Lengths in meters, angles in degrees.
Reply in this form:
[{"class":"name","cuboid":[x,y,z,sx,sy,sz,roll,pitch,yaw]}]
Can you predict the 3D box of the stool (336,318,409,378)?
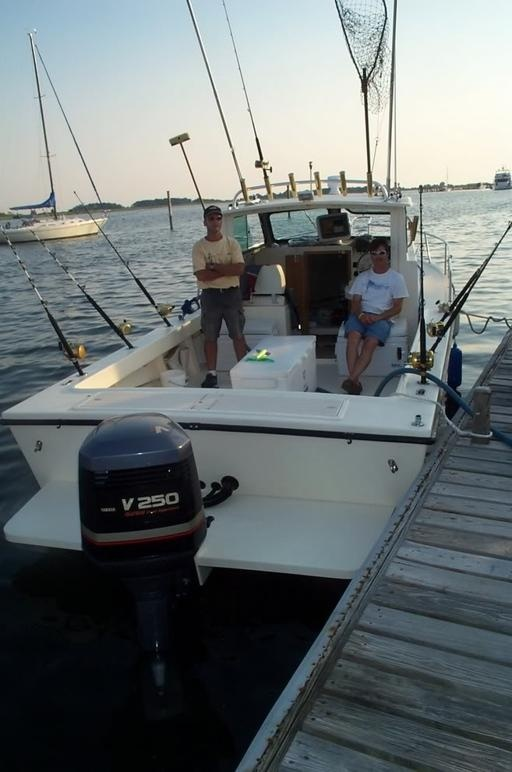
[{"class":"stool","cuboid":[0.895,-0.328,4.024,0.421,0.295,0.421,0,21,9]}]
